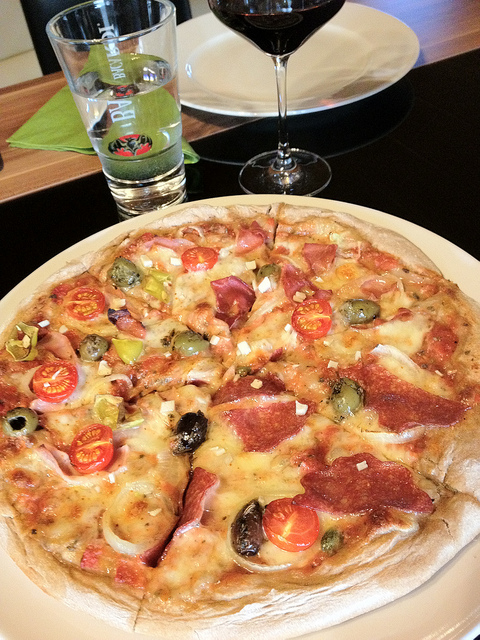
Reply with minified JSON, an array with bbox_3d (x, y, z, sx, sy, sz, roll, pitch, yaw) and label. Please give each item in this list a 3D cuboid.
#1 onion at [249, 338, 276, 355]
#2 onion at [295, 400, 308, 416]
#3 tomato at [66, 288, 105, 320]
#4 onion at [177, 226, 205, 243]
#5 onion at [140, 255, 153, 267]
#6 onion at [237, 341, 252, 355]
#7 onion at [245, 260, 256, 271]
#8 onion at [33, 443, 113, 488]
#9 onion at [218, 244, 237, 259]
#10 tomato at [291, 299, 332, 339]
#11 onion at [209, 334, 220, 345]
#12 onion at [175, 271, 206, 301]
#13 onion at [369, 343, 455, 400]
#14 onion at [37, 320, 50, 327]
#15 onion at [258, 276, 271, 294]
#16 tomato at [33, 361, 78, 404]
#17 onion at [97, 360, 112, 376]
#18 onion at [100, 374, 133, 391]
[{"bbox_3d":[0.061,0.075,1.720,0.063,0.020,0.045,-31,43,-28],"label":"onion"},{"bbox_3d":[0.161,0.231,1.558,0.029,0.020,0.038,-3,43,6],"label":"onion"},{"bbox_3d":[-0.493,-0.051,1.917,0.118,0.046,0.122,17,48,25],"label":"tomato"},{"bbox_3d":[-0.176,-0.307,2.140,0.086,0.034,0.061,25,101,11],"label":"onion"},{"bbox_3d":[-0.322,-0.204,2.058,0.042,0.029,0.024,42,85,21],"label":"onion"},{"bbox_3d":[0.014,0.082,1.727,0.034,0.011,0.042,-20,60,11],"label":"onion"},{"bbox_3d":[0.036,-0.183,1.982,0.035,0.018,0.028,-8,43,1],"label":"onion"},{"bbox_3d":[-0.427,0.367,1.538,0.155,0.095,0.046,27,84,-3],"label":"onion"},{"bbox_3d":[-0.047,-0.237,2.054,0.059,0.016,0.052,-9,43,24],"label":"onion"},{"bbox_3d":[0.209,-0.003,1.741,0.112,0.072,0.124,0,44,9],"label":"tomato"},{"bbox_3d":[-0.075,0.060,1.789,0.025,0.027,0.025,-57,30,2],"label":"onion"},{"bbox_3d":[-0.181,-0.124,1.985,0.083,0.045,0.124,30,55,34],"label":"onion"},{"bbox_3d":[0.445,0.138,1.654,0.273,0.042,0.080,27,65,18],"label":"onion"},{"bbox_3d":[-0.628,0.014,1.918,0.033,0.013,0.030,-30,47,-21],"label":"onion"},{"bbox_3d":[0.077,-0.109,1.862,0.040,0.012,0.039,-38,64,25],"label":"onion"},{"bbox_3d":[-0.522,0.177,1.700,0.125,0.060,0.127,-19,44,-11],"label":"tomato"},{"bbox_3d":[-0.400,0.143,1.757,0.047,0.017,0.038,13,70,1],"label":"onion"},{"bbox_3d":[-0.360,0.182,1.734,0.072,0.048,0.024,1,65,8],"label":"onion"}]
